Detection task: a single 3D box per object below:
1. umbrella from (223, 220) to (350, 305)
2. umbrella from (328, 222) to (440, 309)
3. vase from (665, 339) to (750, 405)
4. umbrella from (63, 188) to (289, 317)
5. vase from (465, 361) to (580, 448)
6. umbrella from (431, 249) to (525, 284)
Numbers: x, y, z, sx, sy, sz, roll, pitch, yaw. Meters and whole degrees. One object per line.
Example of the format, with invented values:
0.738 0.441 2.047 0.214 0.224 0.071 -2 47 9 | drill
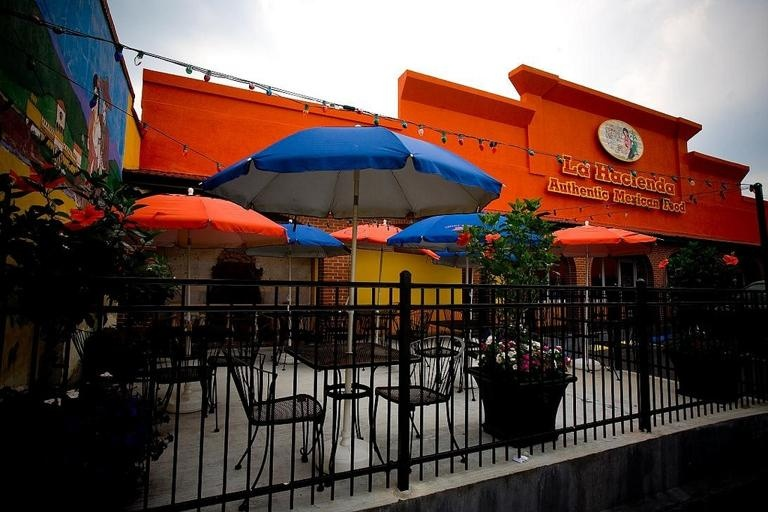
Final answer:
-2.025 0.151 12.094 1.905 1.179 1.850 1 -7 -3 | umbrella
0.012 0.087 13.573 2.280 1.885 2.130 2 -4 -9 | umbrella
5.189 1.786 9.831 1.047 0.822 1.146 -2 -5 -7 | vase
-3.117 -0.114 8.929 2.661 1.045 2.513 3 -5 -10 | umbrella
1.981 2.076 8.451 1.233 0.859 1.111 4 -6 -29 | vase
1.672 0.181 11.106 0.938 0.551 0.850 3 -4 0 | umbrella
